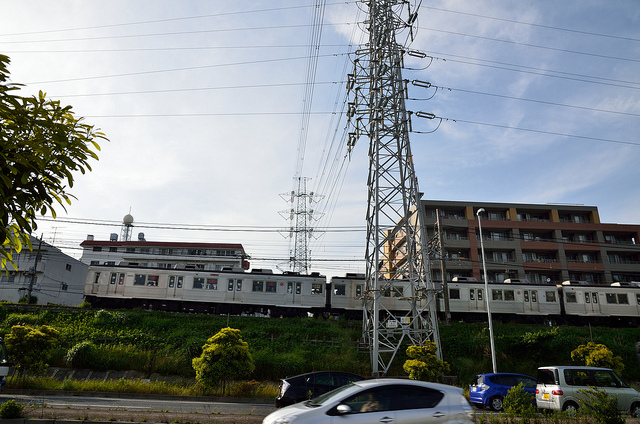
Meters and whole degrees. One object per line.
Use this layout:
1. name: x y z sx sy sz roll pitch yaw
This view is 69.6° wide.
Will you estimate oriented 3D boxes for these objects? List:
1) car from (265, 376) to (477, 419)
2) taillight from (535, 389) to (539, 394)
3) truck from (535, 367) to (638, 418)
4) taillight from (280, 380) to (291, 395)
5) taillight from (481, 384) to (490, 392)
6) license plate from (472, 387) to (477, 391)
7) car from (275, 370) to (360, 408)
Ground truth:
1. car: 1.780 5.373 13.256 5.124 1.080 0.661 1 -22 -2
2. taillight: 8.997 7.447 19.111 0.117 0.111 0.114 0 -11 2
3. truck: 10.915 7.175 18.297 3.825 1.725 1.933 -2 -12 -2
4. taillight: -1.346 6.768 17.815 0.102 0.409 0.396 28 -17 -33
5. taillight: 7.524 8.016 21.061 0.308 0.077 0.298 -7 1 -23
6. license plate: 7.204 8.247 21.519 0.155 0.143 0.108 0 -14 0
7. car: -0.252 6.895 18.298 2.888 0.919 1.354 -5 -5 -17
